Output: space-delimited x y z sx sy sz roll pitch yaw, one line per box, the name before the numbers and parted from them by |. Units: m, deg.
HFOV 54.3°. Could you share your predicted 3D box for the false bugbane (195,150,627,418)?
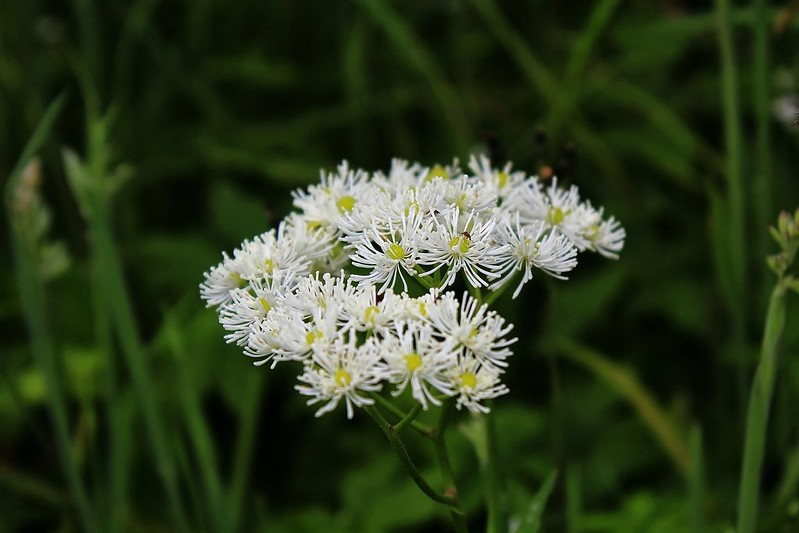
false bugbane | 0.008 0.004 1.107 0.504 0.386 0.211 -39 -19 -22
